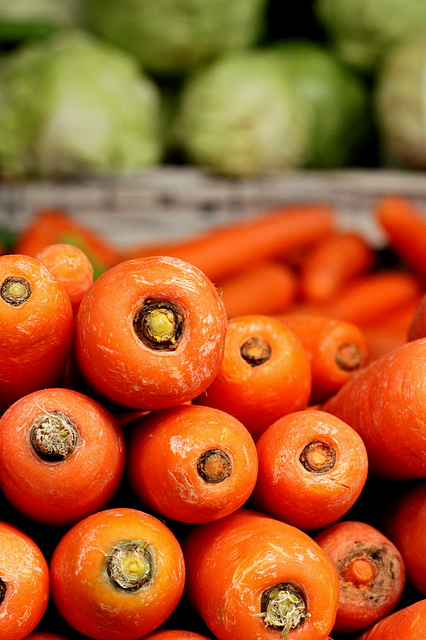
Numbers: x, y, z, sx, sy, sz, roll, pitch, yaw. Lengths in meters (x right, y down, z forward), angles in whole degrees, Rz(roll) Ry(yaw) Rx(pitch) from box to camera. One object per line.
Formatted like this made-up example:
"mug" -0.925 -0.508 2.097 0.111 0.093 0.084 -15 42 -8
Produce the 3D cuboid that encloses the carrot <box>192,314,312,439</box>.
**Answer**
"carrot" 0.051 0.062 0.691 0.131 0.145 0.122 -11 34 -10

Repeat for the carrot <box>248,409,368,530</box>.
"carrot" 0.084 0.133 0.539 0.071 0.091 0.065 -42 64 0

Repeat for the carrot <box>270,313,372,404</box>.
"carrot" 0.154 0.039 0.843 0.080 0.075 0.166 0 3 -27

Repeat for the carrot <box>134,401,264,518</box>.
"carrot" -0.010 0.115 0.516 0.081 0.108 0.072 6 11 10

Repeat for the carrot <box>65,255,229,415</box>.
"carrot" -0.063 0.027 0.564 0.134 0.118 0.200 -8 -15 -16
